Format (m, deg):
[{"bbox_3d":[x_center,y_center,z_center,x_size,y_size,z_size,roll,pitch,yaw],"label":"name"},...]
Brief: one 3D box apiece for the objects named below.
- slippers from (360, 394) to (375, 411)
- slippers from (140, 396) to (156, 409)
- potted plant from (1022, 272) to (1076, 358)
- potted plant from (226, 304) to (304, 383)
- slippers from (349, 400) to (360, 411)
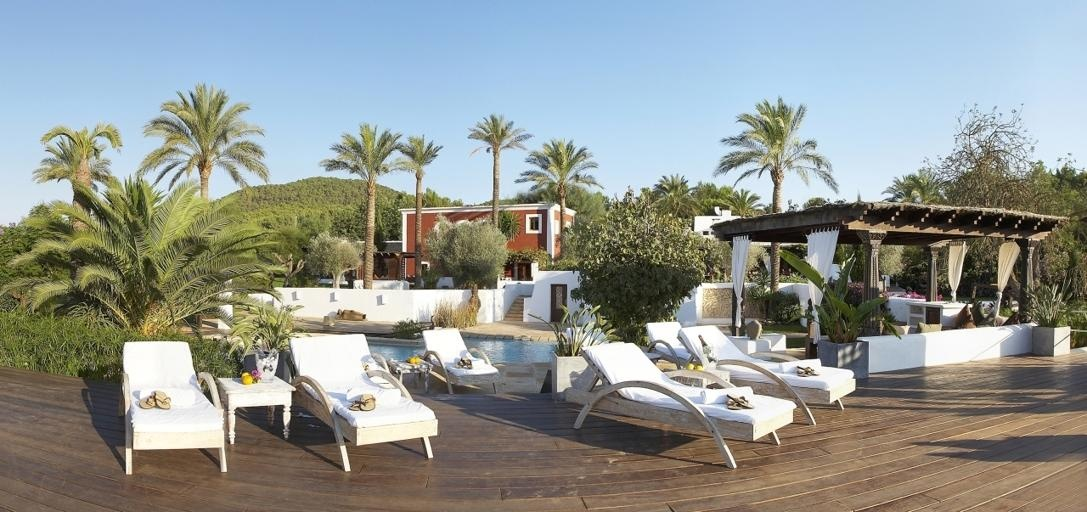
[{"bbox_3d":[-6.173,5.187,24.611,0.520,0.436,0.512,-1,0,-13],"label":"slippers"},{"bbox_3d":[-13.962,5.176,24.549,0.559,0.433,0.140,-1,-1,1],"label":"slippers"},{"bbox_3d":[23.445,2.941,31.963,1.610,3.455,2.253,-2,-1,36],"label":"potted plant"},{"bbox_3d":[-10.726,3.335,28.147,3.374,2.831,3.178,9,-15,-29],"label":"potted plant"},{"bbox_3d":[-6.643,5.300,24.596,0.332,0.215,0.775,1,-5,-19],"label":"slippers"}]
